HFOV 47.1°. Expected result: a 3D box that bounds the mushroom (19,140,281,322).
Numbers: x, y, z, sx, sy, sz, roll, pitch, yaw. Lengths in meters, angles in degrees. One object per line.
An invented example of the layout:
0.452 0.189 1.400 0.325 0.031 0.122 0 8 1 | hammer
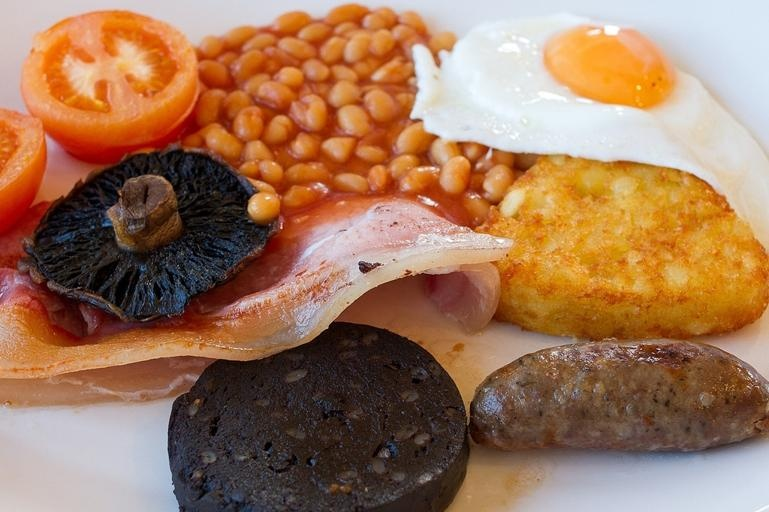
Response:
-0.848 -0.083 3.209 0.787 0.247 0.619 -34 60 -24 | mushroom
